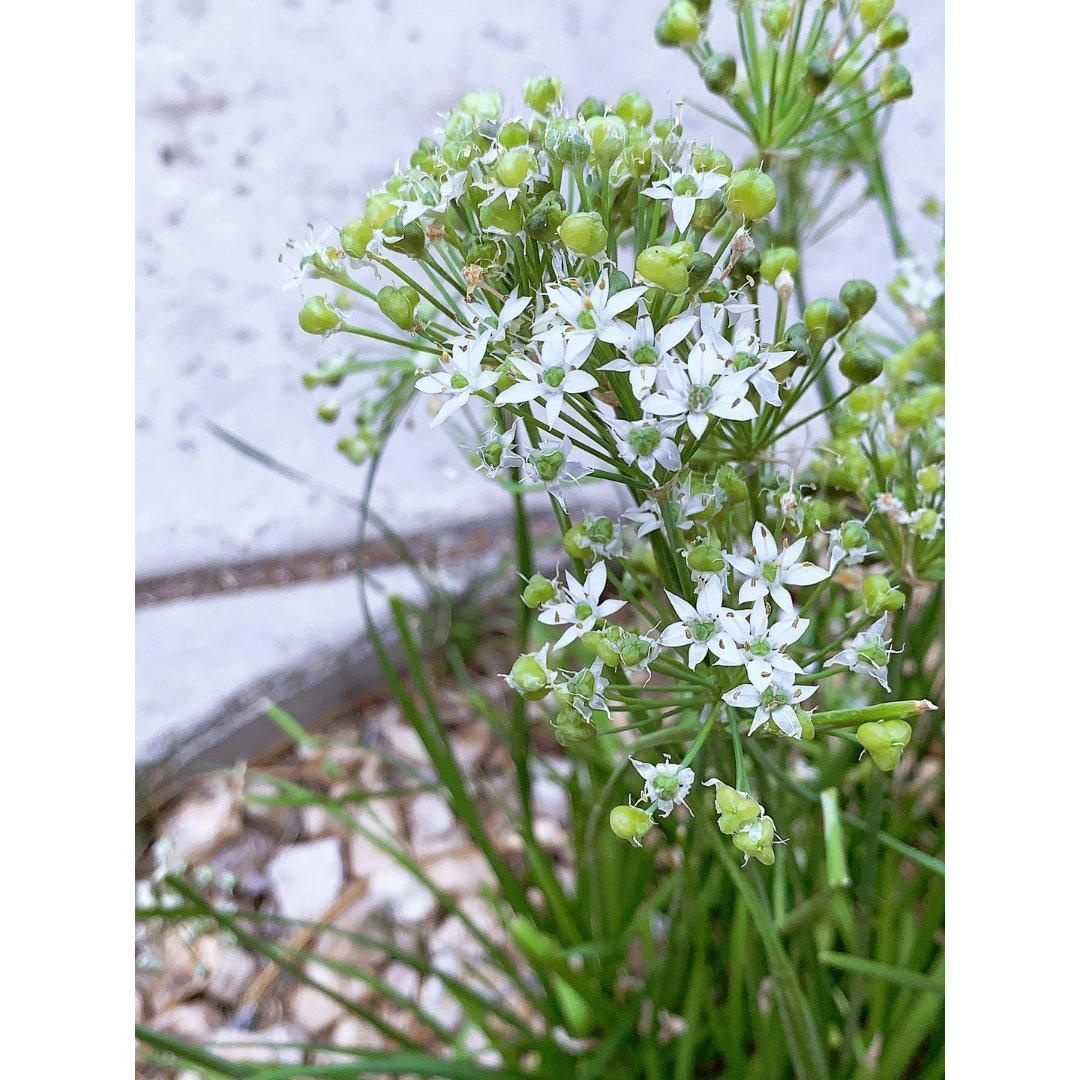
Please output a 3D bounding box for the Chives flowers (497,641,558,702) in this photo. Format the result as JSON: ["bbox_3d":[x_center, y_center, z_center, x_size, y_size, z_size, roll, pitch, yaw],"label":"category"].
[{"bbox_3d":[-0.008,0.086,0.779,0.022,0.037,0.032,2,47,13],"label":"Chives flowers"}]

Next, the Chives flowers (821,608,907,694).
[{"bbox_3d":[0.199,0.071,0.740,0.014,0.036,0.039,27,24,-13],"label":"Chives flowers"}]

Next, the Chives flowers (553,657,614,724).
[{"bbox_3d":[0.026,0.090,0.736,0.032,0.038,0.017,-3,5,6],"label":"Chives flowers"}]

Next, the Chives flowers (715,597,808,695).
[{"bbox_3d":[0.127,0.064,0.719,0.052,0.022,0.052,13,14,18],"label":"Chives flowers"}]

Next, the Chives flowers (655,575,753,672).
[{"bbox_3d":[0.097,0.055,0.735,0.026,0.064,0.054,-14,40,-20],"label":"Chives flowers"}]

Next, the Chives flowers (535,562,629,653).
[{"bbox_3d":[0.026,0.040,0.750,0.052,0.026,0.046,-12,21,36],"label":"Chives flowers"}]

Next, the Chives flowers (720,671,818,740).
[{"bbox_3d":[0.134,0.095,0.717,0.040,0.047,0.021,-11,3,15],"label":"Chives flowers"}]
